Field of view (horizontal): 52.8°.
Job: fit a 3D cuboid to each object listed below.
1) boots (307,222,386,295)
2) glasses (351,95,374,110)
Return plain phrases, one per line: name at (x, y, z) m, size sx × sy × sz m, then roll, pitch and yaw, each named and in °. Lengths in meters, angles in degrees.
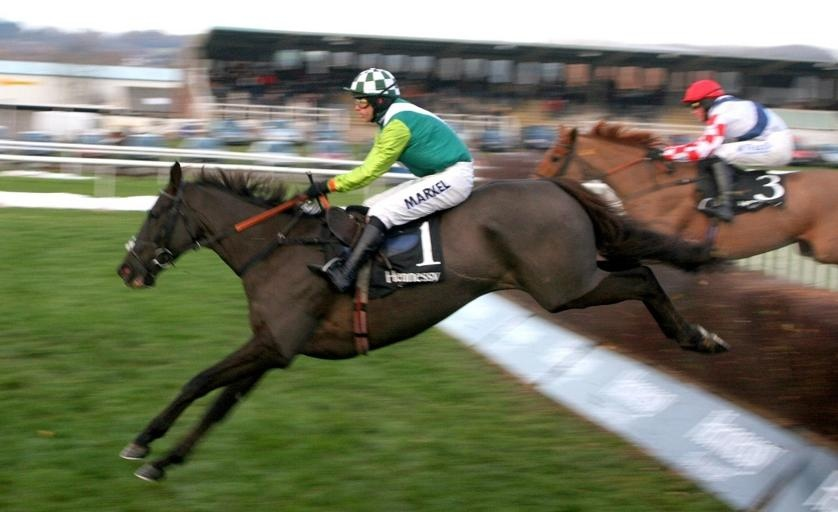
boots at (-0.510, -0.013, 5.978) m, size 0.285 × 0.549 × 0.410 m, roll 24°, pitch 28°, yaw 25°
glasses at (-0.444, -1.134, 6.259) m, size 0.186 × 0.044 × 0.160 m, roll 2°, pitch 1°, yaw -2°
